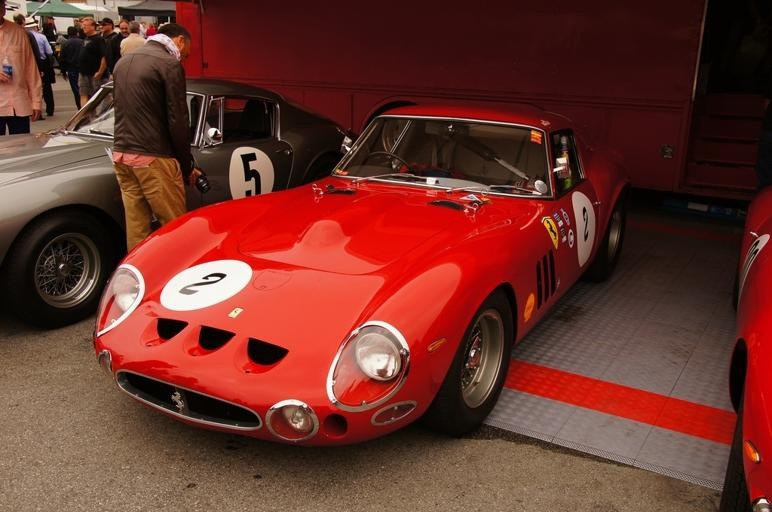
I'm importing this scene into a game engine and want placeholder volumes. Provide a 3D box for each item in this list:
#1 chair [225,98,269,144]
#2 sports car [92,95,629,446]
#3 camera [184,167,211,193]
[{"bbox_3d":[-1.592,-1.615,5.470,0.512,0.459,0.539,1,24,-3],"label":"chair"},{"bbox_3d":[0.270,-0.124,3.362,1.816,1.126,3.590,12,23,31],"label":"sports car"},{"bbox_3d":[-1.689,-0.674,4.217,0.150,0.177,0.408,-52,18,-6],"label":"camera"}]
